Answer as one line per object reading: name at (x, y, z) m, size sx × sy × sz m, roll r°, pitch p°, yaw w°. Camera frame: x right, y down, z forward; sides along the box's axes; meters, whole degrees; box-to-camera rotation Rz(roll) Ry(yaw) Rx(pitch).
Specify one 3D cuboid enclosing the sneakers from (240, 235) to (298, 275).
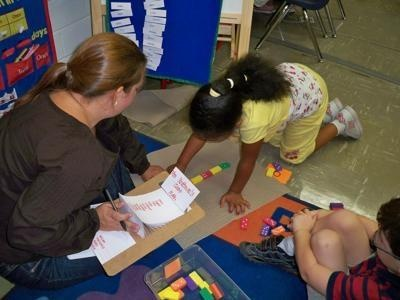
sneakers at (0.378, 0.581, 1.730) m, size 0.386 × 0.192 × 0.143 m, roll 13°, pitch 55°, yaw -2°

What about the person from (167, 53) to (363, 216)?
person at (0.517, -0.220, 2.010) m, size 1.251 × 0.762 × 0.623 m, roll -21°, pitch 44°, yaw -18°

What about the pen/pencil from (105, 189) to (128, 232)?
pen/pencil at (-0.391, 0.287, 1.415) m, size 0.214 × 0.022 × 0.023 m, roll 58°, pitch 26°, yaw 15°

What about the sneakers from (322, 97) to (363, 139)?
sneakers at (1.174, -0.209, 2.545) m, size 0.190 × 0.465 × 0.183 m, roll -19°, pitch 63°, yaw 7°
